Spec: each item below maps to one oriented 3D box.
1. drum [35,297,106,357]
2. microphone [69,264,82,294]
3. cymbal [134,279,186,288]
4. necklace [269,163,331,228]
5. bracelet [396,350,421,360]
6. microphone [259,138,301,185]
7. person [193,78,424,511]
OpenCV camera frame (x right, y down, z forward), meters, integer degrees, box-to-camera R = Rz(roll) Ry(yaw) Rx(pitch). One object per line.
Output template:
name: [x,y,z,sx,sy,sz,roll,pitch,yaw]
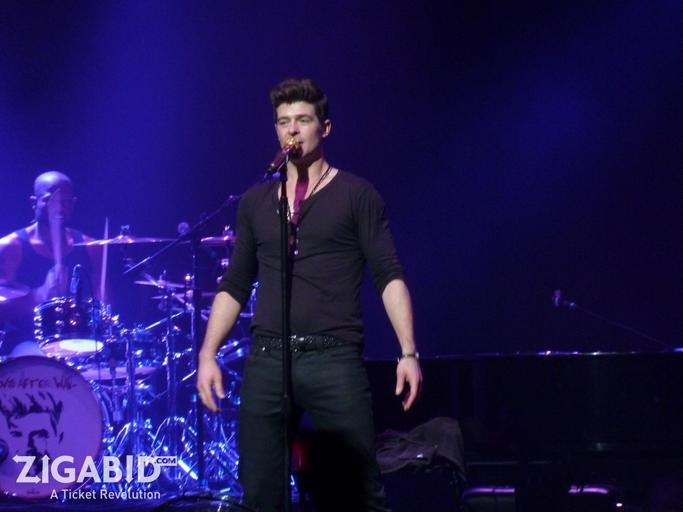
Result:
drum: [-2.380,0.611,5.599,0.490,0.364,0.525,-3,-15,-1]
microphone: [-2.375,0.223,5.739,0.090,0.317,0.207,5,-18,-20]
cymbal: [-1.666,0.255,6.035,0.210,0.065,0.234,0,3,5]
necklace: [-0.279,-0.397,3.582,0.218,0.407,0.067,7,-16,23]
bracelet: [0.377,0.536,3.486,0.135,0.055,0.064,13,-22,-37]
microphone: [-0.331,-0.520,3.549,0.114,0.388,0.109,36,-49,-12]
person: [-0.198,0.186,3.653,1.158,2.399,0.567,4,-17,-17]
